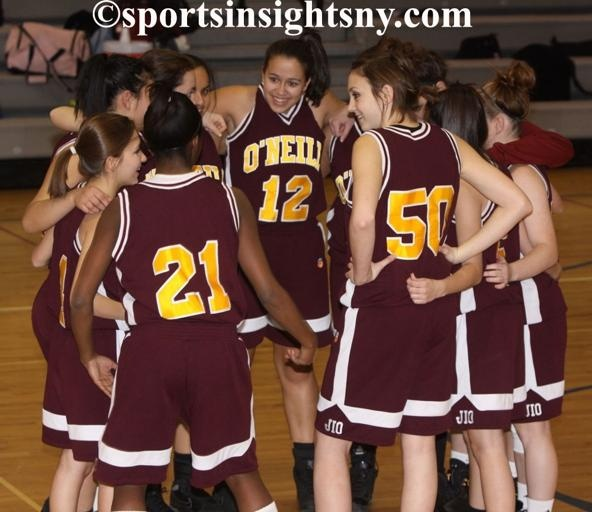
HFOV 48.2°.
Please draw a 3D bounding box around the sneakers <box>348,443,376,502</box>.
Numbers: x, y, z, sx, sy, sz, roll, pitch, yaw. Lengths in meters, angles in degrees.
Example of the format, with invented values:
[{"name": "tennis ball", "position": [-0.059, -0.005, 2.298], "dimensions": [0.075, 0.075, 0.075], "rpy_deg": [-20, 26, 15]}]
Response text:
[{"name": "sneakers", "position": [0.273, 0.878, 2.696], "dimensions": [0.151, 0.219, 0.064], "rpy_deg": [0, -10, 2]}]
